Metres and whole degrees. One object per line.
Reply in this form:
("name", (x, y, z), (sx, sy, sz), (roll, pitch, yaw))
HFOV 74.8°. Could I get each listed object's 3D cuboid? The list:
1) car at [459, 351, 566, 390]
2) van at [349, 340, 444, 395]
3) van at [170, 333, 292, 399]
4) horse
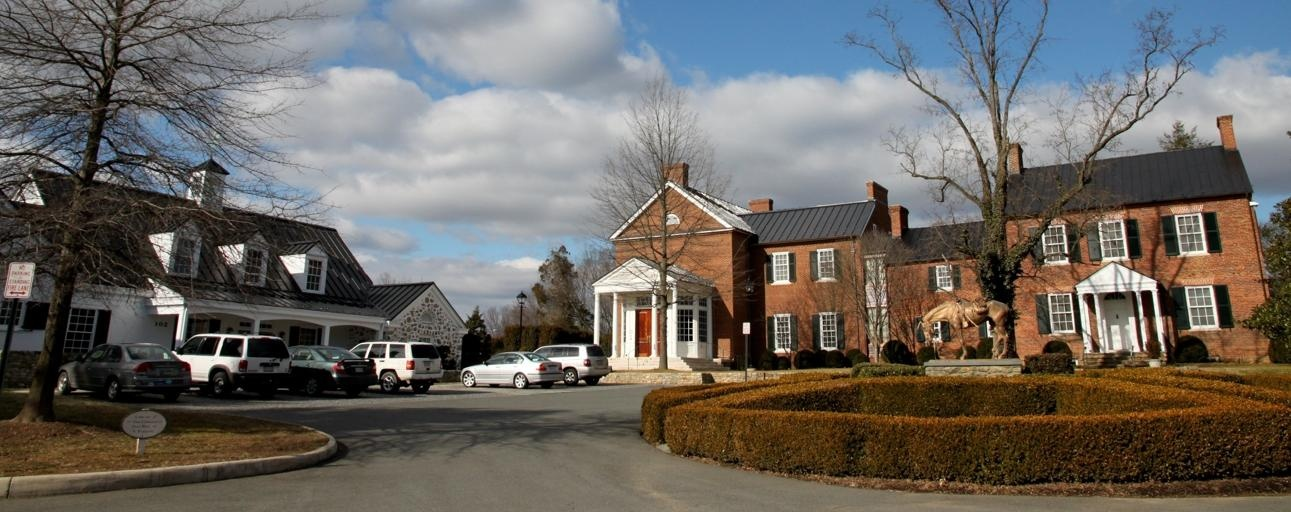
("car", (-9.186, 7.731, 58.086), (6.814, 1.634, 2.613), (0, -7, 20))
("van", (-17.407, 7.083, 56.055), (8.017, 2.522, 3.911), (0, -4, 25))
("van", (-24.037, 6.306, 50.008), (6.805, 2.174, 3.456), (4, -5, 32))
("horse", (19.602, 4.296, 50.771), (1.800, 3.326, 6.208), (17, -16, -43))
